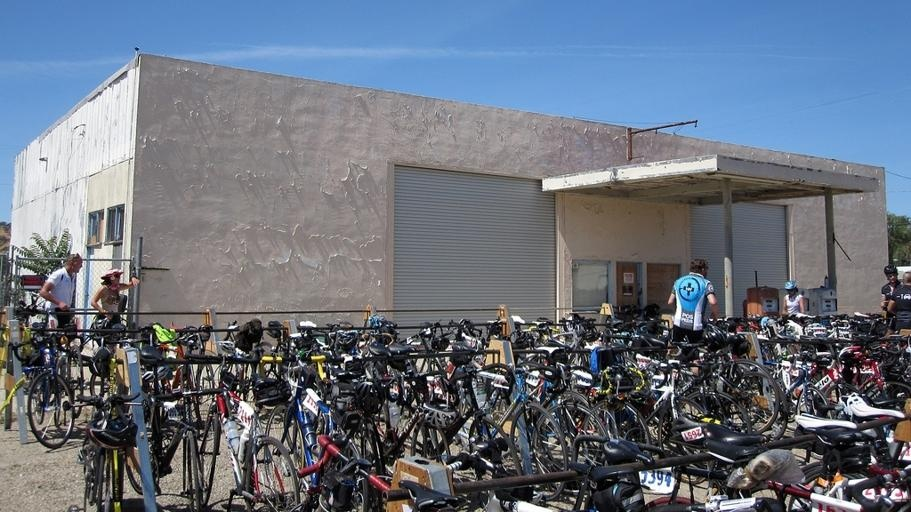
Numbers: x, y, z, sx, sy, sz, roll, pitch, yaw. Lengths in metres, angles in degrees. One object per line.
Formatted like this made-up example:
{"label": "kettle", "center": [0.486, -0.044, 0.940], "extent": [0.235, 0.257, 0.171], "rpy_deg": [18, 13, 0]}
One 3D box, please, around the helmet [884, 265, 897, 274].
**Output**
{"label": "helmet", "center": [8.675, 0.273, 16.167], "extent": [0.243, 0.114, 0.363], "rpy_deg": [-5, -1, 34]}

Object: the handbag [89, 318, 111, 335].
{"label": "handbag", "center": [-6.034, 1.196, 13.821], "extent": [0.460, 0.302, 0.599], "rpy_deg": [3, -4, -28]}

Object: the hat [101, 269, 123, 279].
{"label": "hat", "center": [-6.155, 0.327, 14.479], "extent": [0.265, 0.137, 0.236], "rpy_deg": [0, -6, -16]}
